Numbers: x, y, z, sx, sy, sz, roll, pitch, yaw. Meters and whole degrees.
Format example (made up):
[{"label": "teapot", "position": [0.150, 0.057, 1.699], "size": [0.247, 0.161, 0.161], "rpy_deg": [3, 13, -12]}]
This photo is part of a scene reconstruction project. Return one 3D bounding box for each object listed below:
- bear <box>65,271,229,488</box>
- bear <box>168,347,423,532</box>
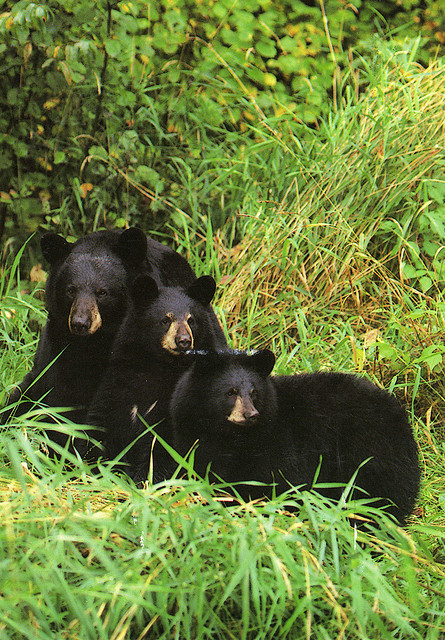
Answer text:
[{"label": "bear", "position": [-0.237, 0.167, 2.893], "size": [0.561, 0.715, 0.948], "rpy_deg": [0, -3, -5]}, {"label": "bear", "position": [0.323, 0.537, 2.611], "size": [1.148, 0.561, 0.792], "rpy_deg": [3, 74, 5]}]
